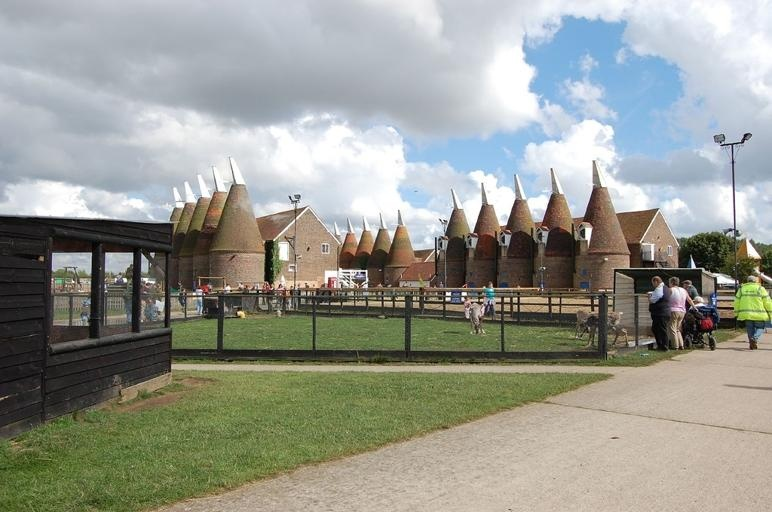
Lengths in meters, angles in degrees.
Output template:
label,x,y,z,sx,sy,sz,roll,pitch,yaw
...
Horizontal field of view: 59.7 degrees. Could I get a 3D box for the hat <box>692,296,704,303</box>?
label,x,y,z,sx,sy,sz,roll,pitch,yaw
hat,9.230,1.289,20.077,0.321,0.171,0.443,1,0,7

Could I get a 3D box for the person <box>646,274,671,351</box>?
label,x,y,z,sx,sy,sz,roll,pitch,yaw
person,7.254,1.538,17.942,0.504,2.056,0.930,2,8,22

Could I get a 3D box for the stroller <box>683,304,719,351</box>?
label,x,y,z,sx,sy,sz,roll,pitch,yaw
stroller,9.039,2.006,19.141,1.068,1.313,1.344,1,2,5
